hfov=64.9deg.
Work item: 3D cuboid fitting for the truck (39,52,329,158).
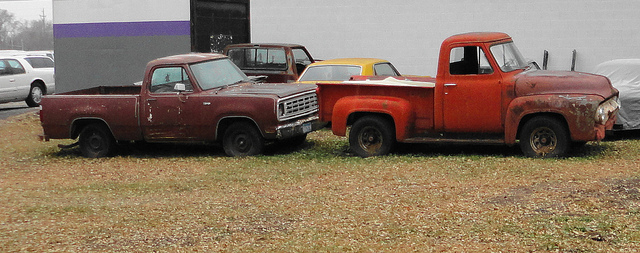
[{"bbox_3d":[-5.588,-0.955,21.811,10.912,2.999,4.960,0,6,11],"label":"truck"}]

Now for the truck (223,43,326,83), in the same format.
[{"bbox_3d":[-2.430,-3.088,24.428,4.232,1.515,2.203,-1,7,4],"label":"truck"}]

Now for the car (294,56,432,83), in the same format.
[{"bbox_3d":[1.723,-2.609,24.834,4.228,1.759,6.594,0,4,-25],"label":"car"}]
